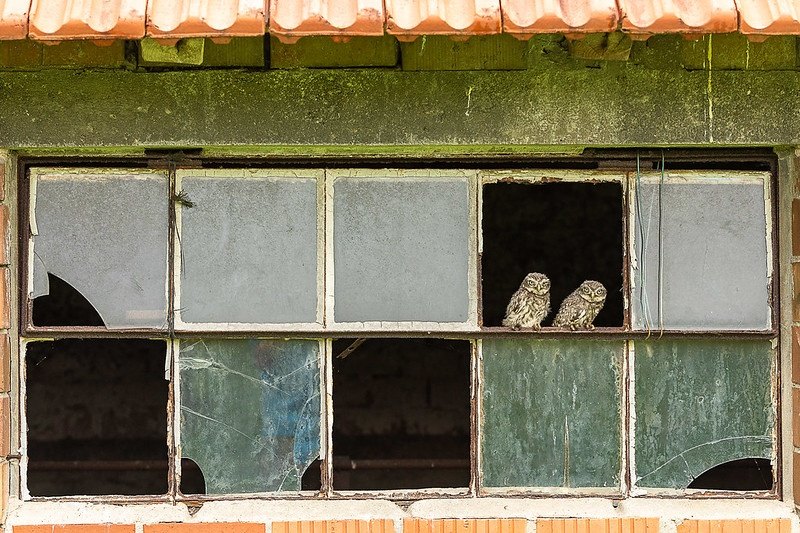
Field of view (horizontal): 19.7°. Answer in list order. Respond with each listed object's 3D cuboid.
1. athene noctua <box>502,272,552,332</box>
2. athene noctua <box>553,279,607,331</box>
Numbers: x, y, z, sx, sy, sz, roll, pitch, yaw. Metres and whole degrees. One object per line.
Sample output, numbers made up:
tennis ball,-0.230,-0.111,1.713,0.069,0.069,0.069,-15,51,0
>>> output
athene noctua,0.879,0.222,16.629,0.297,0.417,0.459,3,2,-34
athene noctua,1.267,0.262,16.668,0.303,0.368,0.399,3,0,-40
